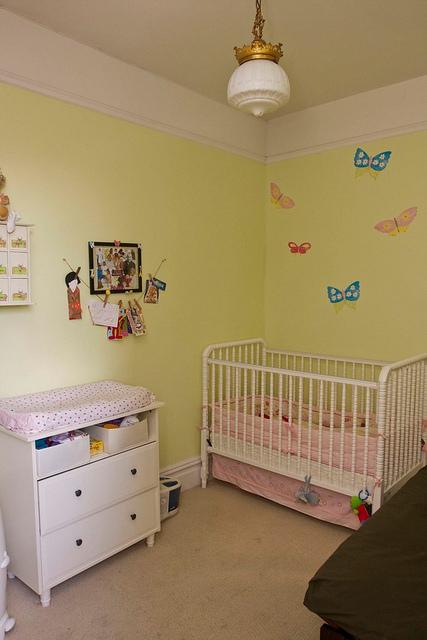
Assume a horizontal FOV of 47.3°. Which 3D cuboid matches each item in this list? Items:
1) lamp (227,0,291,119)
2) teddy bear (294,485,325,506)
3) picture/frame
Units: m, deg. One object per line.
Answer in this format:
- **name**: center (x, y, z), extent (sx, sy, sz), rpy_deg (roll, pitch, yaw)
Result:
- **lamp**: center (0.165, -1.037, 1.821), extent (0.216, 0.545, 0.426), rpy_deg (0, 3, 5)
- **teddy bear**: center (0.497, 0.923, 2.535), extent (0.038, 0.096, 0.123), rpy_deg (30, -16, -33)
- **picture/frame**: center (-0.543, -0.280, 2.615), extent (0.018, 0.242, 0.283), rpy_deg (6, 11, 38)
